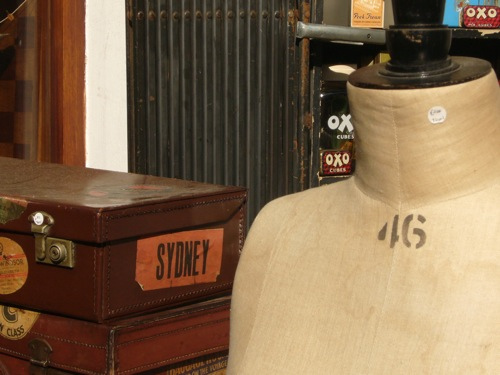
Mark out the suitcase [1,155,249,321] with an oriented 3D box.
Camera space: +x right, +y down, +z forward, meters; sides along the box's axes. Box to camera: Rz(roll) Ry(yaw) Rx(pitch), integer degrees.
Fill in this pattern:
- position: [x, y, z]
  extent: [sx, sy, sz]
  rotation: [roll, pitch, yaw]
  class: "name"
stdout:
- position: [-0.379, 0.132, 2.379]
  extent: [0.670, 0.306, 0.439]
  rotation: [3, 13, 23]
  class: "suitcase"
